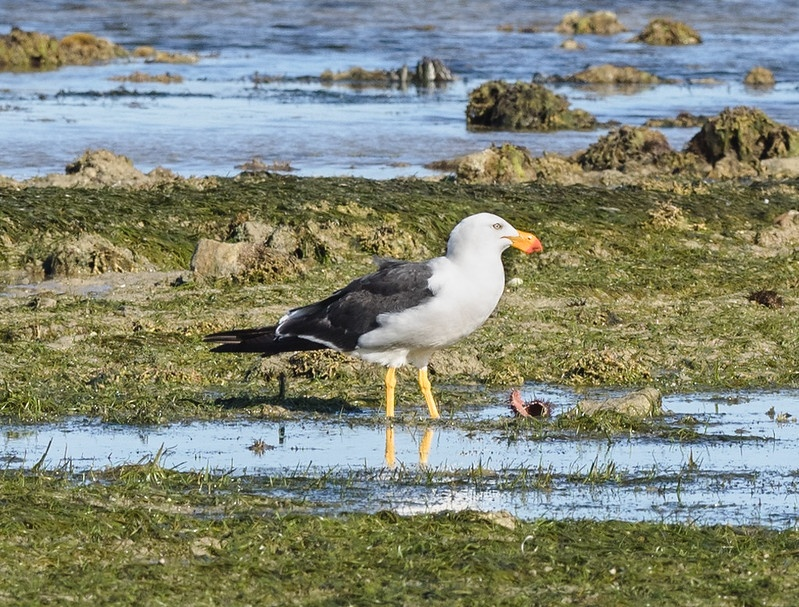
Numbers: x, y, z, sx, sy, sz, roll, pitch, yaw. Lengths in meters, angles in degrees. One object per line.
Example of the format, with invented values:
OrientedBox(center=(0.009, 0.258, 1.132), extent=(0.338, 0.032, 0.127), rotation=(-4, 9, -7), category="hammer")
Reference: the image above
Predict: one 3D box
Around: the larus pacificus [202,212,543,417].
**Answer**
OrientedBox(center=(-0.267, 0.185, 25.529), extent=(3.447, 3.369, 4.429), rotation=(-16, 30, -38), category="larus pacificus")
